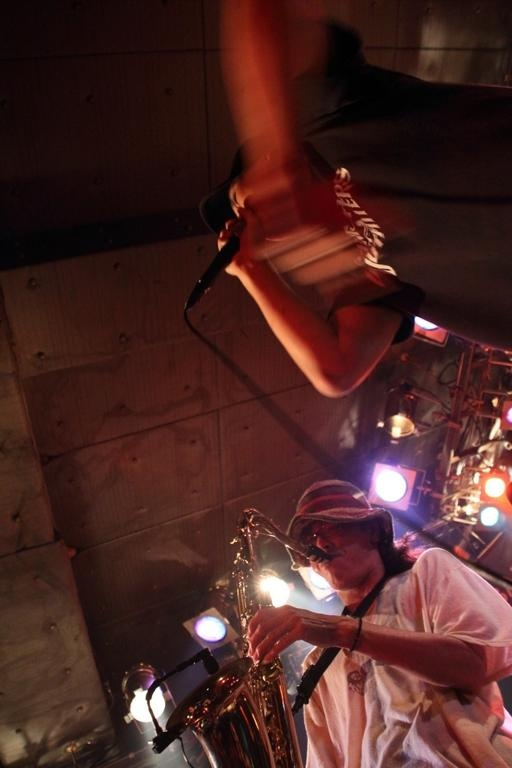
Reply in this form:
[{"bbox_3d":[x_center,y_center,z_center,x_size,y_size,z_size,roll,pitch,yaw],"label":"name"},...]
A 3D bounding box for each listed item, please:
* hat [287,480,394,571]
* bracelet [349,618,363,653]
[{"bbox_3d":[0.332,0.530,2.405,0.362,0.241,0.416,-23,-29,15],"label":"hat"},{"bbox_3d":[0.300,0.728,1.656,0.069,0.017,0.067,-56,-19,-69],"label":"bracelet"}]
